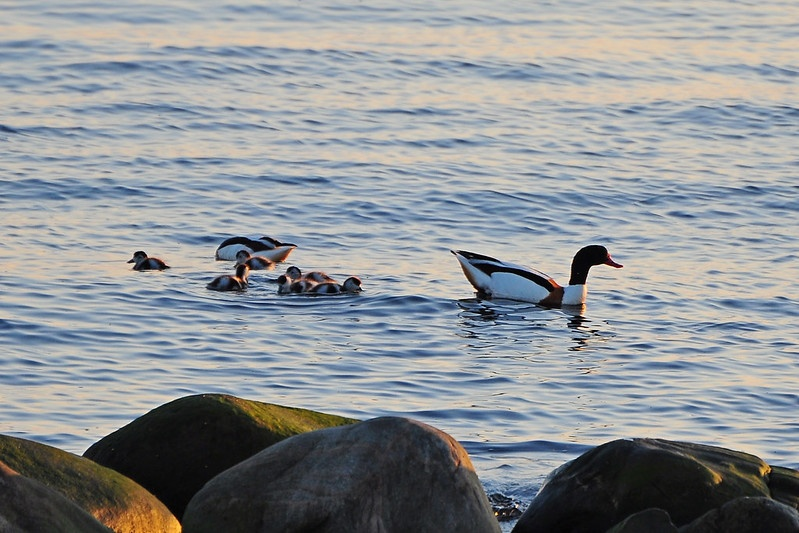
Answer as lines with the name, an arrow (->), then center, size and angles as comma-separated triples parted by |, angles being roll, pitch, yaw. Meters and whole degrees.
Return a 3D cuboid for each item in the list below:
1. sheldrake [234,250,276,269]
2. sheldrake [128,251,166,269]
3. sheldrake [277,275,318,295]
sheldrake -> -4.249, -0.147, 45.569 | 0.600, 0.544, 1.326 | -4, -5, 41
sheldrake -> -7.066, -0.118, 43.917 | 1.095, 0.586, 0.728 | -1, -4, 10
sheldrake -> -2.940, 0.556, 43.394 | 1.115, 0.546, 0.614 | -4, -5, 45
